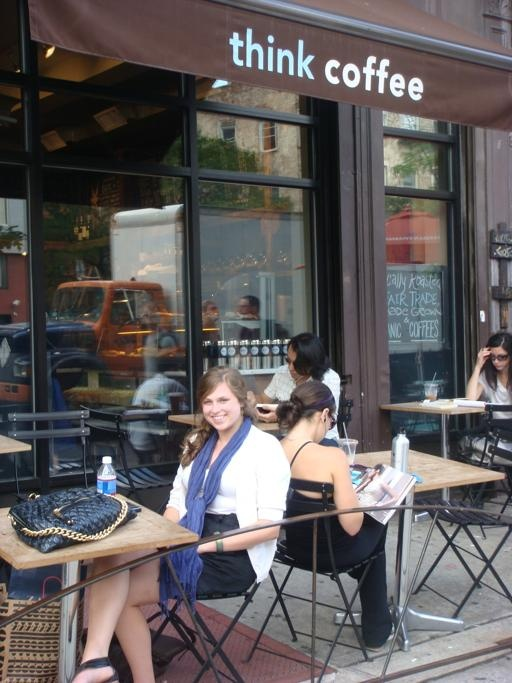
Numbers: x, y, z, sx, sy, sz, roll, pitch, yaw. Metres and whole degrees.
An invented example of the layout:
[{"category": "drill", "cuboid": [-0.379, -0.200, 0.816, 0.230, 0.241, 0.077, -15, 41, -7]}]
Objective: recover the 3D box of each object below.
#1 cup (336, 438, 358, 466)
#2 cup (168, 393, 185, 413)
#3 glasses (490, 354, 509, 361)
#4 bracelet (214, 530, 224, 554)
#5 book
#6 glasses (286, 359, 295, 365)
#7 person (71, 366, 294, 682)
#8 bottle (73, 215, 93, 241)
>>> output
[{"category": "cup", "cuboid": [0.411, 0.468, 3.180, 0.129, 0.146, 0.131, 0, -3, 0]}, {"category": "cup", "cuboid": [-0.601, 0.471, 5.507, 0.122, 0.189, 0.125, 1, -1, 0]}, {"category": "glasses", "cuboid": [1.976, 0.126, 5.904, 0.155, 0.065, 0.102, -2, 2, 33]}, {"category": "bracelet", "cuboid": [-0.132, 0.747, 2.636, 0.028, 0.054, 0.049, -4, 2, -5]}, {"category": "book", "cuboid": [0.475, 0.567, 2.902, 0.204, 0.105, 0.442, -4, 2, -12]}, {"category": "glasses", "cuboid": [0.222, 0.127, 4.654, 0.041, 0.058, 0.022, -4, -15, -3]}, {"category": "person", "cuboid": [-0.220, 0.617, 2.576, 0.624, 0.814, 0.916, -3, 2, 9]}, {"category": "bottle", "cuboid": [-1.209, -0.792, 5.071, 0.030, 0.151, 0.159, -2, 2, 34]}]
